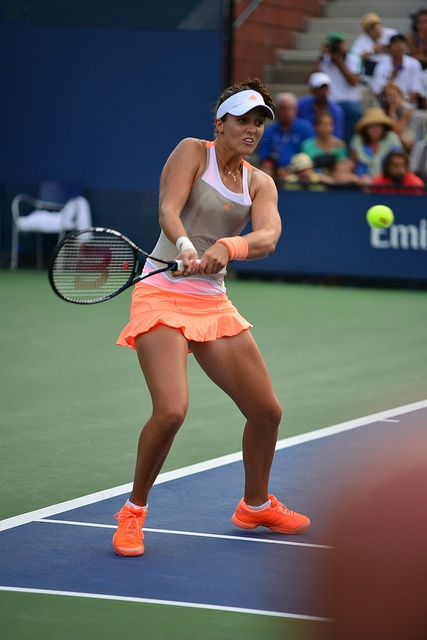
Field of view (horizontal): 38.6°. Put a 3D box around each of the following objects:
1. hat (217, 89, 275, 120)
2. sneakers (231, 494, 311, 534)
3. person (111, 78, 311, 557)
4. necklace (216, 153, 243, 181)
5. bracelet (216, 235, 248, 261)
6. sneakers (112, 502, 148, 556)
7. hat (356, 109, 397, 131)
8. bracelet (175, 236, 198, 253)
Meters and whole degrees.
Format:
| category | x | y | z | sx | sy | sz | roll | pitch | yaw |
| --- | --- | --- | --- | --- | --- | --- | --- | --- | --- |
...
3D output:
| category | x | y | z | sx | sy | sz | roll | pitch | yaw |
| --- | --- | --- | --- | --- | --- | --- | --- | --- | --- |
| hat | 0.133 | -0.913 | 2.561 | 0.245 | 0.127 | 0.167 | 1 | 8 | 1 |
| sneakers | 0.264 | 0.883 | 2.885 | 0.425 | 0.171 | 0.144 | 6 | 7 | 1 |
| person | -0.006 | -0.021 | 2.617 | 0.866 | 2.055 | 0.496 | -1 | 9 | -13 |
| necklace | 0.079 | -0.658 | 2.642 | 0.076 | 0.133 | 0.037 | -39 | 16 | -12 |
| bracelet | 0.080 | -0.293 | 2.413 | 0.089 | 0.084 | 0.112 | -1 | 3 | 6 |
| sneakers | -0.347 | 0.870 | 2.536 | 0.104 | 0.114 | 0.248 | 14 | -2 | -9 |
| hat | 2.650 | -3.299 | 9.925 | 0.469 | 0.138 | 0.440 | 3 | -4 | -13 |
| bracelet | -0.113 | -0.301 | 2.413 | 0.066 | 0.064 | 0.111 | 0 | 8 | -9 |
